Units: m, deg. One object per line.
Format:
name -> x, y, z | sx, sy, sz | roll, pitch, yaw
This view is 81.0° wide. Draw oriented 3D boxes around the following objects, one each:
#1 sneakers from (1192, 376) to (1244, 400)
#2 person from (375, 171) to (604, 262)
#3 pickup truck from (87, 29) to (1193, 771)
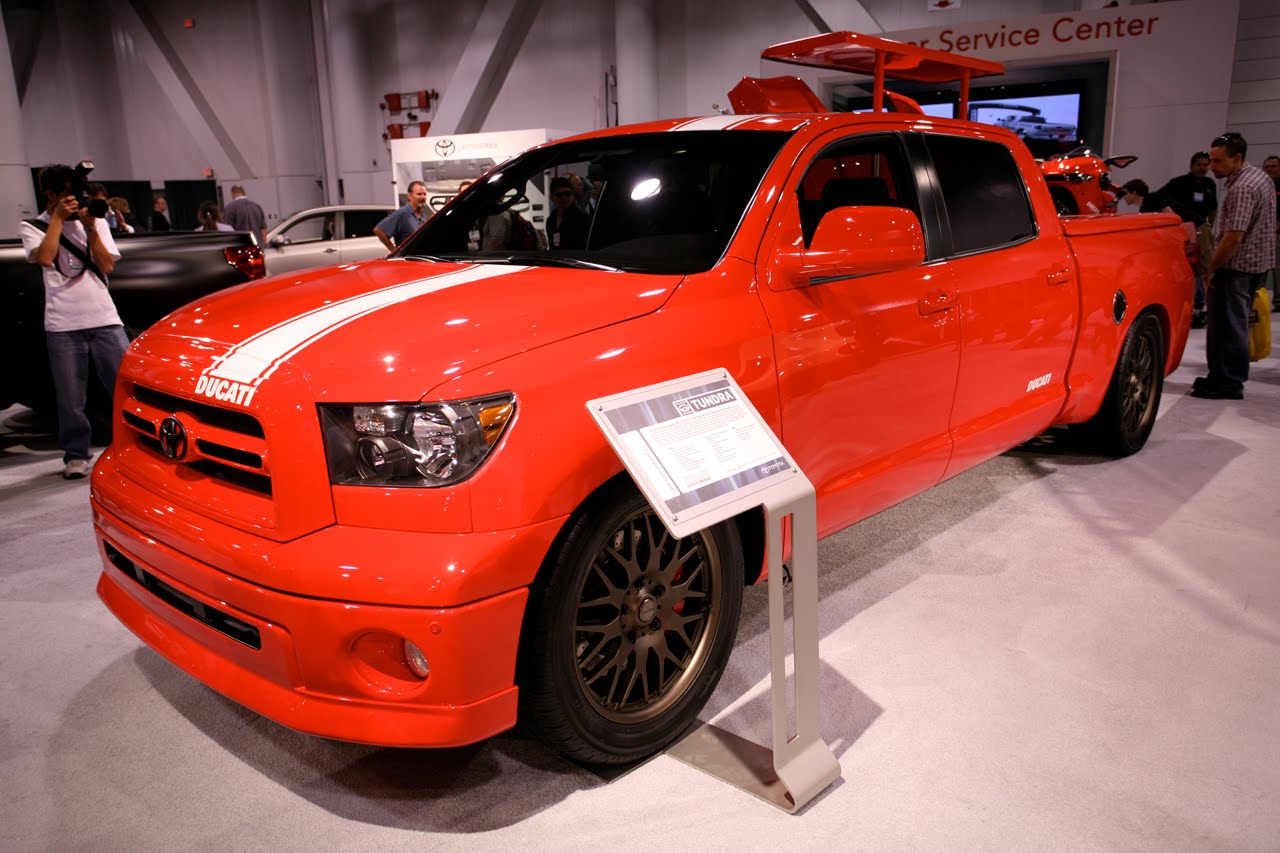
sneakers -> 5.189, -0.357, 6.845 | 0.206, 0.191, 0.462 | -6, 6, -25
person -> -0.695, -0.940, 3.529 | 0.889, 0.412, 0.605 | -12, 21, -36
pickup truck -> 0.619, -0.421, 3.923 | 5.339, 1.942, 2.474 | -12, 16, -41
